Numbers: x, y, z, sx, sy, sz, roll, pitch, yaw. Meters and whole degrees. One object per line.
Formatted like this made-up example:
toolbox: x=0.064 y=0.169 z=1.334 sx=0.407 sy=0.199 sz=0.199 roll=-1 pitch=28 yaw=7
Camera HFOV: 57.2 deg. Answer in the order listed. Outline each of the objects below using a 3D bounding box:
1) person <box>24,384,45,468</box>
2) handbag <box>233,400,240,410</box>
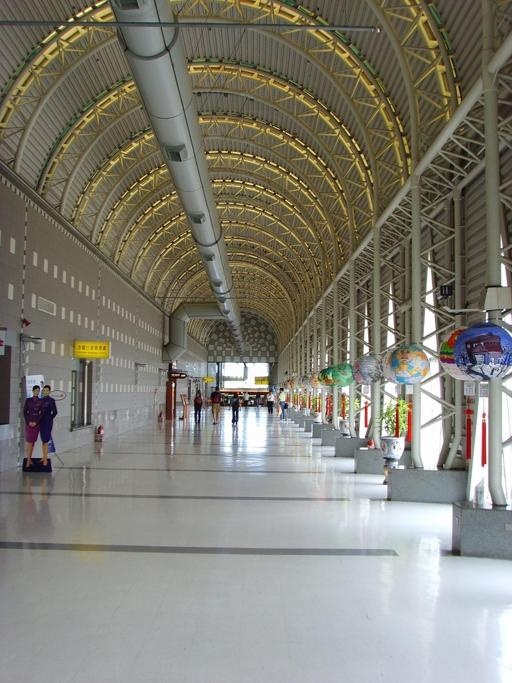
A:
person: x=-6.522 y=2.483 z=13.644 sx=0.425 sy=2.370 sz=0.840 roll=4 pitch=-7 yaw=-26
handbag: x=-1.551 y=4.710 z=34.744 sx=0.358 sy=0.744 sz=0.807 roll=2 pitch=-6 yaw=-11
